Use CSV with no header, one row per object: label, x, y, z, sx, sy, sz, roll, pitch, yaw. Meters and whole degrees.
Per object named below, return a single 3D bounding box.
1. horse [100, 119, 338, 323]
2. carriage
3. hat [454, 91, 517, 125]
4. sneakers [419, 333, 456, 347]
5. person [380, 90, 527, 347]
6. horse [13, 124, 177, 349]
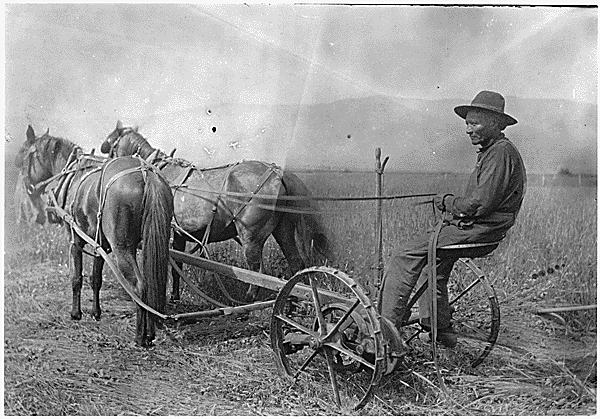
horse,-0.973,0.035,6.082,2.550,1.661,0.632,5,6,18
carriage,-1.098,0.184,5.954,5.386,1.891,1.859,7,1,25
hat,1.415,-0.672,4.527,0.357,0.120,0.325,22,-10,-15
sneakers,1.094,1.000,4.780,0.242,0.125,0.084,0,31,19
person,1.147,0.100,4.544,0.997,1.994,0.411,3,10,-11
horse,-2.003,0.209,5.979,0.802,1.970,2.715,-4,8,-45
